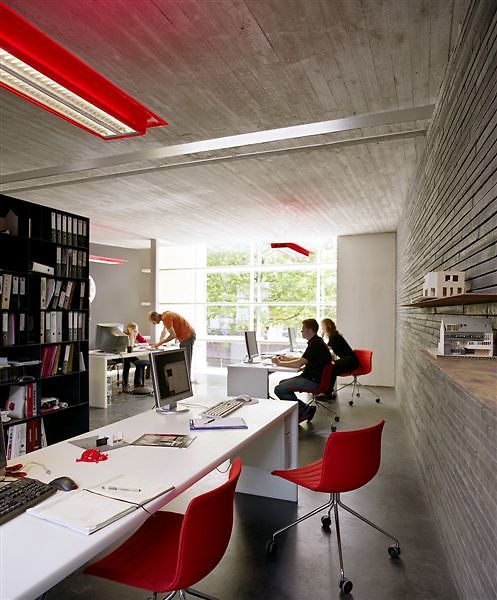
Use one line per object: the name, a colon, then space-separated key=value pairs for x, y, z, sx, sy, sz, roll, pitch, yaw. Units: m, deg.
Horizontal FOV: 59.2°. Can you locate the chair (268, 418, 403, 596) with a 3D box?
chair: x=0.604 y=1.075 z=2.815 sx=0.787 sy=1.029 sz=0.872 roll=1 pitch=-1 yaw=-42

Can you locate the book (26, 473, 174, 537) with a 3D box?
book: x=-0.512 y=0.687 z=1.518 sx=0.355 sy=0.026 sz=0.408 roll=-1 pitch=-2 yaw=29

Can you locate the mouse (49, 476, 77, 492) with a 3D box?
mouse: x=-0.696 y=0.673 z=1.625 sx=0.073 sy=0.024 sz=0.048 roll=9 pitch=0 yaw=17

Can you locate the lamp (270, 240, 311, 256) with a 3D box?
lamp: x=0.879 y=-1.075 z=8.780 sx=0.384 sy=0.209 sz=1.177 roll=-1 pitch=-2 yaw=33

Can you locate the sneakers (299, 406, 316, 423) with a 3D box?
sneakers: x=0.736 y=1.361 z=5.261 sx=0.129 sy=0.158 sz=0.381 roll=2 pitch=6 yaw=25

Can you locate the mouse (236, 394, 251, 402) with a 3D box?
mouse: x=-0.013 y=0.748 z=3.347 sx=0.046 sy=0.056 sz=0.137 roll=-7 pitch=-19 yaw=34

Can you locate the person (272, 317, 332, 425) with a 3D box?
person: x=0.653 y=0.869 z=5.401 sx=0.813 sy=1.253 sz=0.546 roll=-1 pitch=-5 yaw=19

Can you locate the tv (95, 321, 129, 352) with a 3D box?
tv: x=-2.164 y=0.599 z=7.066 sx=0.539 sy=0.451 sz=0.401 roll=-2 pitch=-5 yaw=23
